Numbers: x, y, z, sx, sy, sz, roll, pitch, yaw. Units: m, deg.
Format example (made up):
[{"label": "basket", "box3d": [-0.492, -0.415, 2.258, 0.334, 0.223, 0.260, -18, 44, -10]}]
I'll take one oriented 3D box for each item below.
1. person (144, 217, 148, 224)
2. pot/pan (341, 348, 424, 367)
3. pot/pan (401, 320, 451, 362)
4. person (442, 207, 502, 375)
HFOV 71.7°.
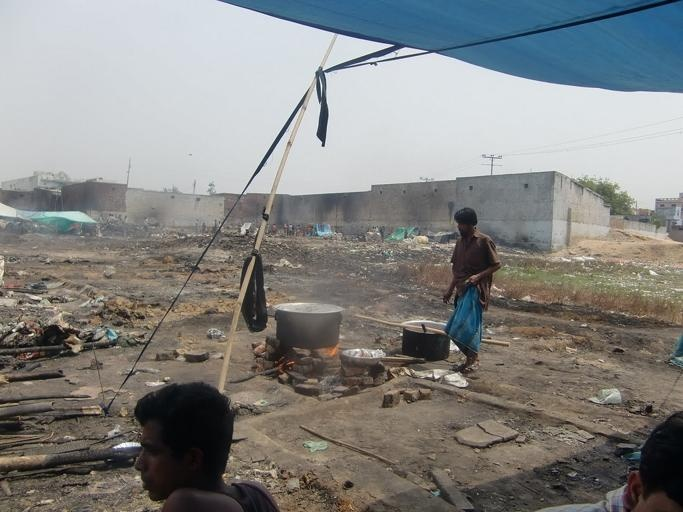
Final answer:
[{"label": "person", "box3d": [-18.288, -3.214, 44.104, 0.437, 0.504, 0.875, 0, 5, -25]}, {"label": "pot/pan", "box3d": [0.451, 1.303, 6.013, 0.685, 0.084, 0.432, 5, 4, 18]}, {"label": "pot/pan", "box3d": [1.178, 1.198, 6.648, 0.596, 0.330, 0.590, 2, 2, 36]}, {"label": "person", "box3d": [1.714, 0.455, 6.232, 0.661, 2.129, 0.727, 3, 5, 11]}]
